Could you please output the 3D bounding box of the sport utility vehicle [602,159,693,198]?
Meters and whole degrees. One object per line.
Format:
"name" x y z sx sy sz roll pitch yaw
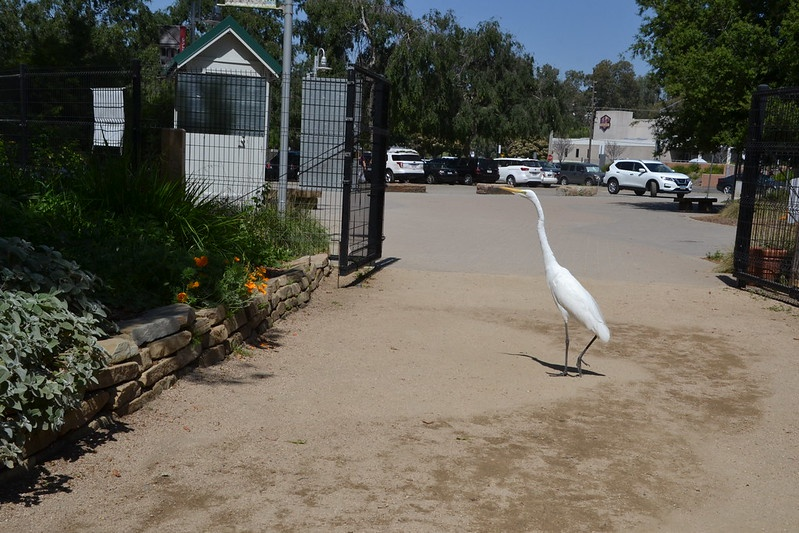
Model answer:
"sport utility vehicle" 14.484 -5.046 37.805 1.622 2.054 4.849 -6 14 -34

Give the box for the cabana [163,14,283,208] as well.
"cabana" -3.598 -2.747 13.468 2.336 3.777 2.514 -2 -17 2

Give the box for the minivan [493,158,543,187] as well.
"minivan" 8.136 -6.621 45.472 1.616 1.466 3.629 -3 13 -27

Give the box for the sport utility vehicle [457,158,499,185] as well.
"sport utility vehicle" 5.340 -6.489 44.818 2.829 1.896 1.134 8 12 30

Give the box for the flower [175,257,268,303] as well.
"flower" -2.206 0.194 7.818 0.512 0.442 0.772 4 8 8

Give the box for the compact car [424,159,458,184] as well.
"compact car" 2.951 -6.620 45.544 2.347 1.729 1.414 2 11 1

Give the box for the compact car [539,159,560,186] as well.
"compact car" 10.876 -6.486 46.863 1.237 1.164 2.372 0 14 0

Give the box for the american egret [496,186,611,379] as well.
"american egret" 2.194 0.092 8.629 1.274 2.147 2.680 3 11 10

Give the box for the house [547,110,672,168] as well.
"house" 27.278 -17.153 85.162 11.576 7.316 23.548 7 12 24

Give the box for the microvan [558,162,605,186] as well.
"microvan" 13.288 -6.711 47.462 3.269 1.702 1.753 5 9 39

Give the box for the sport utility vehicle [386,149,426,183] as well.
"sport utility vehicle" 0.414 -6.581 43.356 2.403 2.170 4.096 2 11 4
